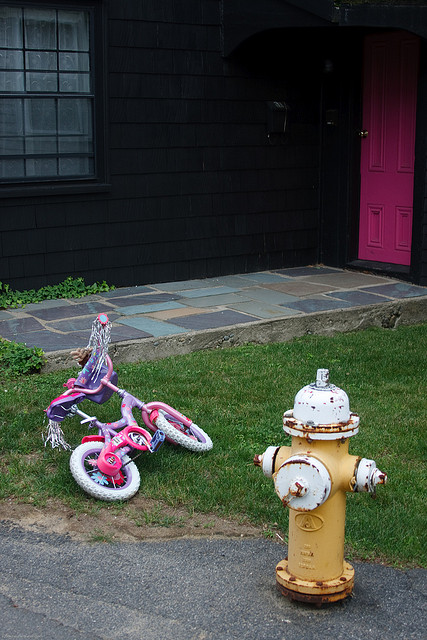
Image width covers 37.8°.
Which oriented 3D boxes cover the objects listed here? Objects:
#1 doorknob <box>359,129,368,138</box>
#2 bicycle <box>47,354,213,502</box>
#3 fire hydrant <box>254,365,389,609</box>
[{"bbox_3d":[1.986,-2.458,8.225,0.105,0.096,0.066,2,12,6],"label":"doorknob"},{"bbox_3d":[-0.491,0.498,3.262,0.596,0.593,0.813,8,14,34],"label":"bicycle"},{"bbox_3d":[0.329,0.540,2.125,0.388,0.853,0.361,-2,10,-9],"label":"fire hydrant"}]
